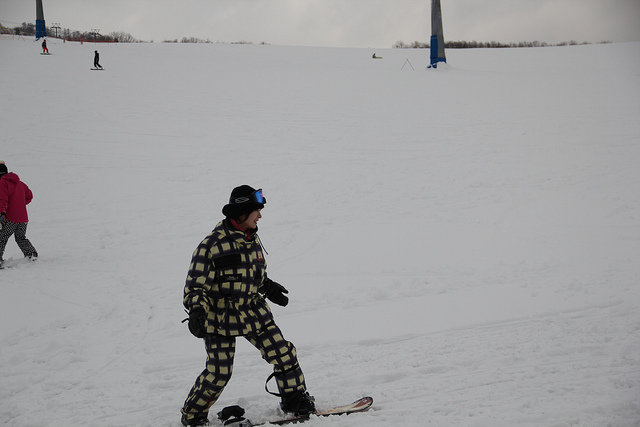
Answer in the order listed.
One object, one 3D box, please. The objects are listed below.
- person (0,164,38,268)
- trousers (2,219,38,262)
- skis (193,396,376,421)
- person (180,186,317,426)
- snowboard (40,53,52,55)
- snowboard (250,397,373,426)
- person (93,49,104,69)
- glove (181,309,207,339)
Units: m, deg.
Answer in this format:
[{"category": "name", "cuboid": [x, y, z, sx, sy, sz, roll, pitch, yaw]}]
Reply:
[{"category": "person", "cuboid": [-5.526, 0.006, 12.327, 0.557, 1.834, 0.503, -3, 13, -9]}, {"category": "trousers", "cuboid": [-5.620, 0.538, 12.687, 0.745, 0.865, 0.271, 2, 4, -42]}, {"category": "skis", "cuboid": [-0.482, 2.590, 9.005, 2.157, 0.179, 0.249, -3, 8, -7]}, {"category": "person", "cuboid": [-1.066, 1.222, 8.745, 1.562, 3.046, 0.701, -4, 13, -13]}, {"category": "snowboard", "cuboid": [-10.257, -5.942, 25.433, 0.324, 0.051, 0.607, -1, 14, -3]}, {"category": "snowboard", "cuboid": [-0.126, 2.628, 8.985, 1.504, 0.100, 0.220, -6, 24, -18]}, {"category": "person", "cuboid": [-7.749, -5.351, 23.795, 0.301, 0.618, 0.931, -5, 14, -16]}, {"category": "glove", "cuboid": [-1.544, 1.362, 8.397, 0.263, 0.345, 0.142, -32, 11, 1]}]
